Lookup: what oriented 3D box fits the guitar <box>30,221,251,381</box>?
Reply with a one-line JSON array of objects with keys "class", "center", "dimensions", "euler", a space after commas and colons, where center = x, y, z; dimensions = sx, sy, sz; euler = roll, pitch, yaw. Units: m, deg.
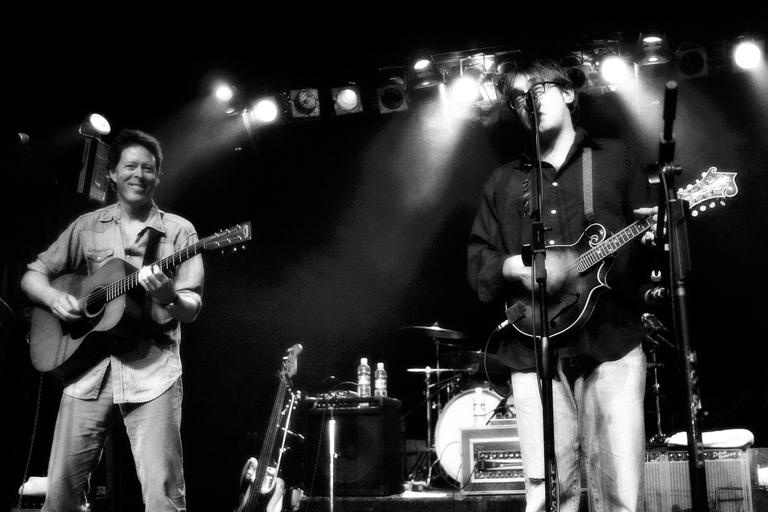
[{"class": "guitar", "center": [-1.608, 0.234, 4.725], "dimensions": [1.641, 0.742, 0.234], "euler": [-26, -38, 10]}]

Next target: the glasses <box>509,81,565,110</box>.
[{"class": "glasses", "center": [0.918, -0.996, 4.223], "dimensions": [0.230, 0.077, 0.238], "euler": [-29, -7, 42]}]

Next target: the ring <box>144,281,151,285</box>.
[{"class": "ring", "center": [-1.464, 0.173, 4.450], "dimensions": [0.026, 0.026, 0.007], "euler": [0, 0, 18]}]

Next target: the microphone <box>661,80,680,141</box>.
[{"class": "microphone", "center": [1.442, -0.746, 3.503], "dimensions": [0.070, 0.338, 0.181], "euler": [-2, -3, 21]}]

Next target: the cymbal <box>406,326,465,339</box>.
[{"class": "cymbal", "center": [0.629, 0.801, 7.184], "dimensions": [0.285, 0.066, 0.287], "euler": [6, -13, -3]}]
